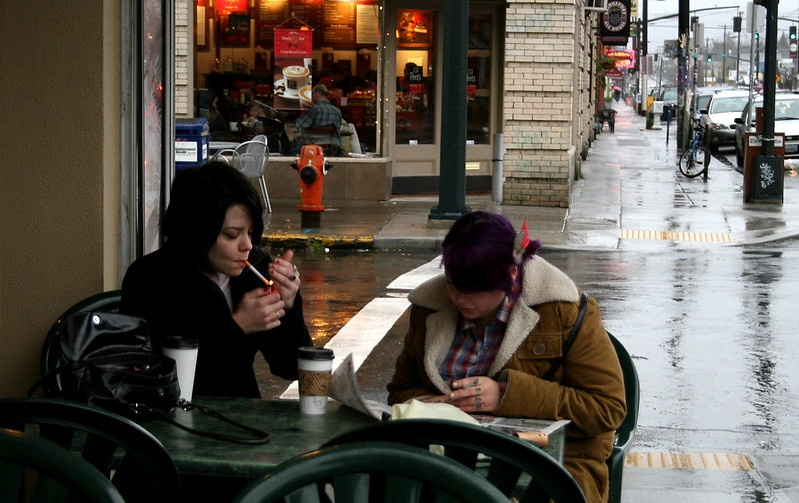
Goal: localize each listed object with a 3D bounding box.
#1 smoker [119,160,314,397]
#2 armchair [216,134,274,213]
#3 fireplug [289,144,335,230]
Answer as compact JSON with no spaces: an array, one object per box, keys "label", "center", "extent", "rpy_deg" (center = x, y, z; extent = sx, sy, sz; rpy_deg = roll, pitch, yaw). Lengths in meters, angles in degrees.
[{"label":"smoker","center":[-0.881,0.158,3.780],"extent":[0.663,1.478,0.618],"rpy_deg":[1,3,27]},{"label":"armchair","center":[-3.034,-1.532,15.186],"extent":[1.187,1.408,1.193],"rpy_deg":[-1,10,10]},{"label":"fireplug","center":[-1.697,-1.209,14.086],"extent":[0.679,1.657,1.015],"rpy_deg":[4,-5,-43]}]
